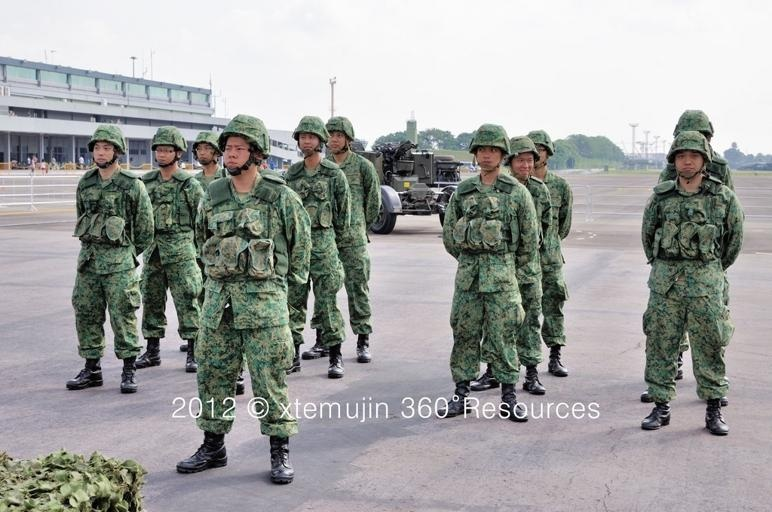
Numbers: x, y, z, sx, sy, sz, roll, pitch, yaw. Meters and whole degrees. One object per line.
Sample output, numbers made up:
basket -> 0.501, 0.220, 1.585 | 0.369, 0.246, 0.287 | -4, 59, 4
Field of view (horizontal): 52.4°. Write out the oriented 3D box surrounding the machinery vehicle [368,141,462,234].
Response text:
machinery vehicle -> 0.781, -2.370, 24.685 | 3.515, 2.156, 5.062 | -4, 16, -19

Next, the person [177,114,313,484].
person -> -1.072, 0.304, 6.142 | 0.902, 2.774, 0.928 | -1, 13, -5
